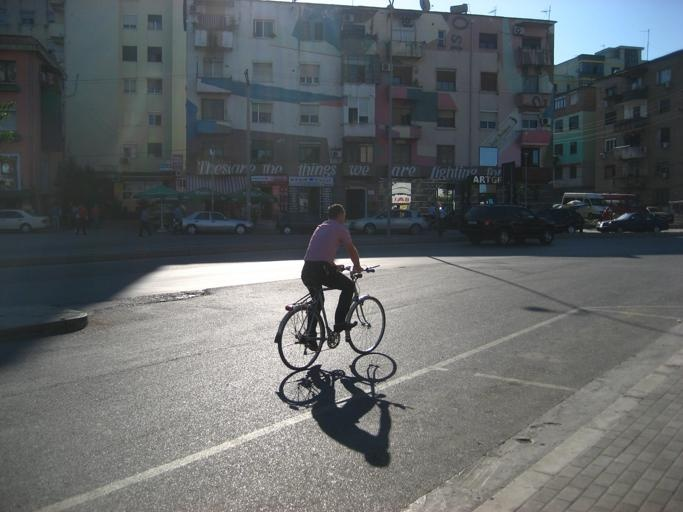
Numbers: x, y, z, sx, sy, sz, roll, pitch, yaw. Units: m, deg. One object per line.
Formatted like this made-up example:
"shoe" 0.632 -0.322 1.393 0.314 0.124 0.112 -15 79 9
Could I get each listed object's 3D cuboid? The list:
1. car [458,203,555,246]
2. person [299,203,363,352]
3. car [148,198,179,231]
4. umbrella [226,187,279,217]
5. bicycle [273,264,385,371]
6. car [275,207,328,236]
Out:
"car" 6.771 -1.362 29.849 3.264 1.503 1.617 -4 6 -22
"person" -0.137 0.247 9.872 0.799 1.897 0.788 -1 5 -2
"car" -11.389 -2.736 47.108 1.258 2.619 2.401 3 -5 -39
"umbrella" -5.625 -3.649 45.447 2.357 0.968 2.711 2 6 10
"bicycle" -0.321 0.803 10.185 0.858 1.289 1.833 9 14 44
"car" -2.303 -1.999 41.139 2.741 1.418 1.461 -4 12 -4
